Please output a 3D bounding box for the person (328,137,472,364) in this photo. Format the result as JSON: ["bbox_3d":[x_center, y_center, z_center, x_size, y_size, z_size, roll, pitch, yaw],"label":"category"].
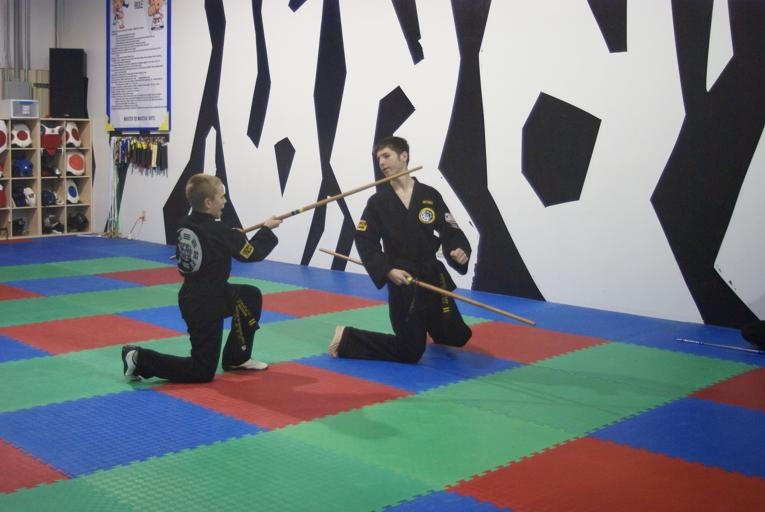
[{"bbox_3d":[0.145,-0.044,4.327,1.115,1.619,0.895,-9,5,-28],"label":"person"}]

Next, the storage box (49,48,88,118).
[{"bbox_3d":[-5.142,-2.808,9.949,0.594,1.171,0.613,0,-2,-16],"label":"storage box"}]

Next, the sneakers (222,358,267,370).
[{"bbox_3d":[-0.943,0.745,4.099,0.272,0.124,0.106,1,1,-9],"label":"sneakers"}]
